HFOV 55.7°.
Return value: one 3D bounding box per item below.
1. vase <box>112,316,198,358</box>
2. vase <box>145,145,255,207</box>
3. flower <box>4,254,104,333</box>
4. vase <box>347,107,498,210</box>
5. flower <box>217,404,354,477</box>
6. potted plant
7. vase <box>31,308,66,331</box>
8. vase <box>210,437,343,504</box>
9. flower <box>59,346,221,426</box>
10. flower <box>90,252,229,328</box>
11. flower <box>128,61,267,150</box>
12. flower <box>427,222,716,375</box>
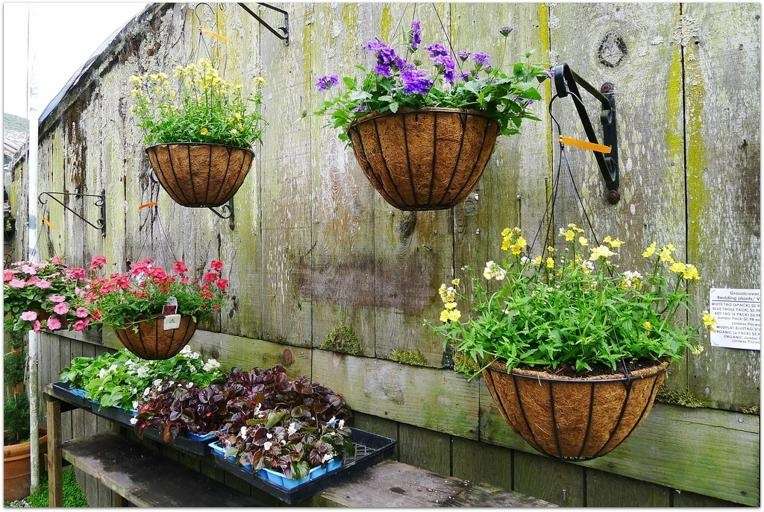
[{"bbox_3d":[-1.061,0.386,3.418,0.245,0.132,0.252,0,-10,-4],"label":"vase"},{"bbox_3d":[-0.812,-0.381,3.308,0.319,0.159,0.326,2,3,40],"label":"vase"},{"bbox_3d":[-1.861,0.277,3.994,0.529,0.376,0.515,6,16,-27],"label":"flower"},{"bbox_3d":[0.148,-0.402,2.827,0.427,0.249,0.430,-5,5,-22],"label":"vase"},{"bbox_3d":[-0.355,0.805,3.109,0.316,0.117,0.352,0,3,-45],"label":"flower"},{"bbox_3d":[-2.394,1.065,4.858,0.244,1.198,0.286,-2,1,-19],"label":"potted plant"},{"bbox_3d":[-1.794,0.347,3.890,0.143,0.146,0.057,15,-36,-35],"label":"vase"},{"bbox_3d":[-0.429,0.928,3.050,0.524,0.206,0.187,-1,0,2],"label":"vase"},{"bbox_3d":[-1.289,0.639,3.799,0.468,0.158,0.530,11,0,13],"label":"flower"},{"bbox_3d":[-1.079,0.189,3.568,0.542,0.248,0.404,1,-2,-34],"label":"flower"},{"bbox_3d":[-0.892,-0.763,3.623,0.525,0.498,0.682,2,0,-26],"label":"flower"},{"bbox_3d":[0.661,0.213,2.832,0.767,0.303,0.708,-2,0,37],"label":"flower"}]
